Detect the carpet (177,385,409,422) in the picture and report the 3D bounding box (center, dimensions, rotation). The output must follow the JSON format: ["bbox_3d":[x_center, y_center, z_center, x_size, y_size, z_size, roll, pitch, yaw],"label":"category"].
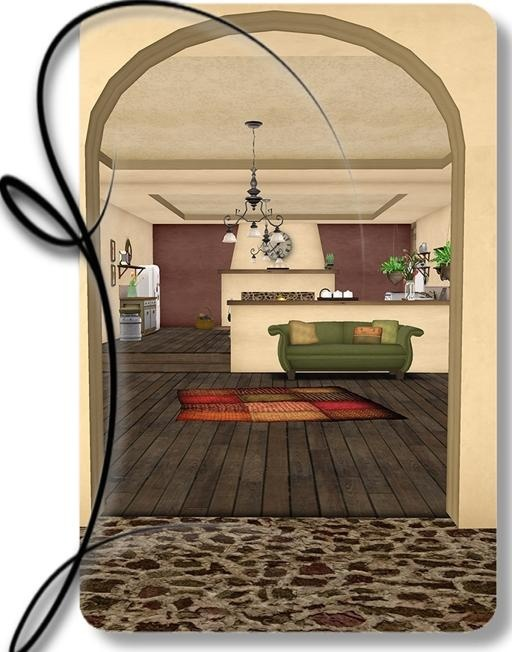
[{"bbox_3d":[0.207,0.712,4.853,1.869,0.039,1.622,-1,4,-4],"label":"carpet"}]

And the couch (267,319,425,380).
[{"bbox_3d":[1.073,0.291,6.363,1.702,0.670,0.574,-1,4,-1],"label":"couch"}]

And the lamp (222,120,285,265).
[{"bbox_3d":[0.099,-1.843,9.814,1.336,2.148,1.347,0,-3,1],"label":"lamp"}]

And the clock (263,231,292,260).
[{"bbox_3d":[0.529,-1.638,11.240,0.774,0.729,0.102,-3,4,-25],"label":"clock"}]

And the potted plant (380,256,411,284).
[{"bbox_3d":[2.011,-0.792,7.405,0.345,0.371,0.460,0,4,4],"label":"potted plant"}]
